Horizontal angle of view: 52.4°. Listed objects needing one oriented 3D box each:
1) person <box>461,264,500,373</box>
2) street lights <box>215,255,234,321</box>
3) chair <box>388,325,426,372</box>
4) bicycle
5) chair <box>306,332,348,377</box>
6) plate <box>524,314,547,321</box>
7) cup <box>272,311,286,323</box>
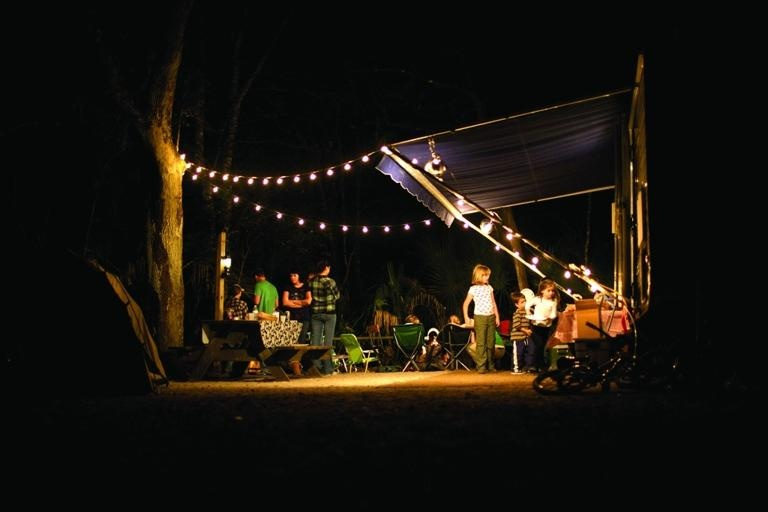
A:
[{"bbox_3d":[1.603,1.071,12.891,0.557,1.842,0.768,0,7,7],"label":"person"},{"bbox_3d":[-2.590,0.369,12.496,0.247,1.365,0.867,-2,7,-12],"label":"street lights"},{"bbox_3d":[0.447,1.710,14.499,0.577,0.933,0.733,-4,1,-4],"label":"chair"},{"bbox_3d":[2.436,1.395,9.275,1.053,0.622,0.684,-4,-12,9],"label":"bicycle"},{"bbox_3d":[-1.039,1.689,13.985,0.805,0.868,0.638,0,-11,-1],"label":"chair"},{"bbox_3d":[2.425,0.980,12.478,0.123,0.116,0.368,-6,9,-41],"label":"plate"},{"bbox_3d":[-1.682,0.974,12.551,0.123,0.126,0.161,2,-5,-34],"label":"cup"}]
